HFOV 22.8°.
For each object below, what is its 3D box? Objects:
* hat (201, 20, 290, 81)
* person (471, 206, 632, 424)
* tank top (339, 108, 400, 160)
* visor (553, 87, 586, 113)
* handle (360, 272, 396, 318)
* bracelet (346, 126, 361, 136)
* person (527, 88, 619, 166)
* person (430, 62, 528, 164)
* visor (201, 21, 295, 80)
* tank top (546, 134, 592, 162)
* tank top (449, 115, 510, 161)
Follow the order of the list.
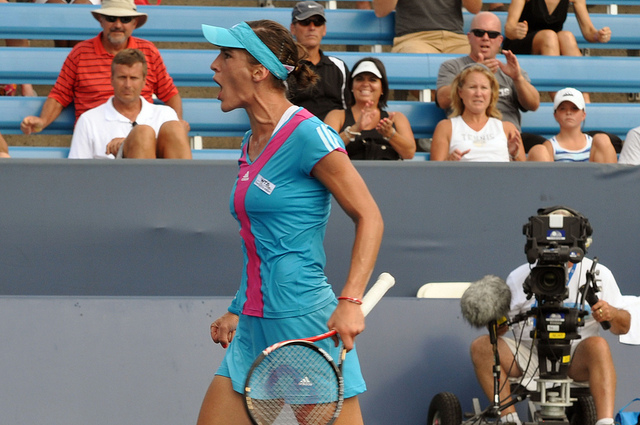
[{"bbox_3d":[-0.499,-1.122,10.949,0.545,0.190,0.320,36,-1,-9],"label":"hat"},{"bbox_3d":[1.779,0.847,12.252,1.315,1.956,1.148,-1,-24,12],"label":"person"},{"bbox_3d":[0.436,-0.744,13.479,0.625,0.602,0.330,4,-30,-6],"label":"tank top"},{"bbox_3d":[2.193,-0.987,13.889,0.259,0.220,0.286,-4,18,6],"label":"visor"},{"bbox_3d":[0.402,0.550,10.891,0.218,0.292,0.203,1,14,7],"label":"handle"},{"bbox_3d":[0.288,-0.682,13.358,0.104,0.080,0.080,-2,18,10],"label":"bracelet"},{"bbox_3d":[2.199,-0.691,13.639,0.675,0.624,0.767,2,20,21],"label":"person"},{"bbox_3d":[1.361,-0.820,13.845,0.825,1.061,0.901,4,-10,-7],"label":"person"},{"bbox_3d":[-0.502,-1.088,11.011,0.538,0.168,0.325,33,-2,-7],"label":"visor"},{"bbox_3d":[2.193,-0.527,13.759,0.388,0.206,0.300,-1,30,-1],"label":"tank top"},{"bbox_3d":[1.375,-0.596,13.639,0.562,0.526,0.303,0,-9,-11],"label":"tank top"}]
